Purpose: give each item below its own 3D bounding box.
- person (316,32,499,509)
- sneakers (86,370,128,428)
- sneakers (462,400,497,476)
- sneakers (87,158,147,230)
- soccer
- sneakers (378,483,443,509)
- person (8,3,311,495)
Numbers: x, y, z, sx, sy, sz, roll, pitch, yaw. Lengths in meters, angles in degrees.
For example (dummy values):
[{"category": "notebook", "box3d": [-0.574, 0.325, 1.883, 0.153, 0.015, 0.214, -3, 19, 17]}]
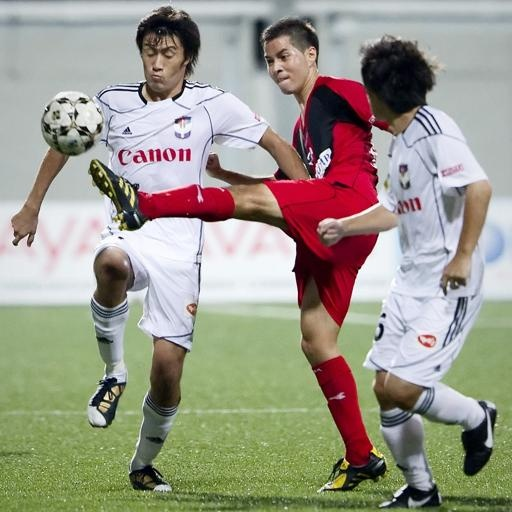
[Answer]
[{"category": "person", "box3d": [0.717, 0.065, 3.915, 0.763, 1.973, 0.574, 8, 15, 21]}, {"category": "sneakers", "box3d": [-0.760, 0.727, 4.557, 0.111, 0.156, 0.328, 11, 19, 1]}, {"category": "sneakers", "box3d": [1.004, 0.828, 4.063, 0.145, 0.386, 0.129, 14, -14, -21]}, {"category": "sneakers", "box3d": [-0.625, -0.284, 4.013, 0.257, 0.333, 0.195, -3, 15, -19]}, {"category": "soccer", "box3d": [-0.864, -0.627, 4.213, 0.270, 0.349, 0.286, 0, 2, -7]}, {"category": "sneakers", "box3d": [0.686, 1.069, 3.969, 0.287, 0.134, 0.109, 2, -25, 0]}, {"category": "person", "box3d": [-0.554, -0.099, 4.648, 0.990, 2.331, 1.169, 13, 18, 37]}]
